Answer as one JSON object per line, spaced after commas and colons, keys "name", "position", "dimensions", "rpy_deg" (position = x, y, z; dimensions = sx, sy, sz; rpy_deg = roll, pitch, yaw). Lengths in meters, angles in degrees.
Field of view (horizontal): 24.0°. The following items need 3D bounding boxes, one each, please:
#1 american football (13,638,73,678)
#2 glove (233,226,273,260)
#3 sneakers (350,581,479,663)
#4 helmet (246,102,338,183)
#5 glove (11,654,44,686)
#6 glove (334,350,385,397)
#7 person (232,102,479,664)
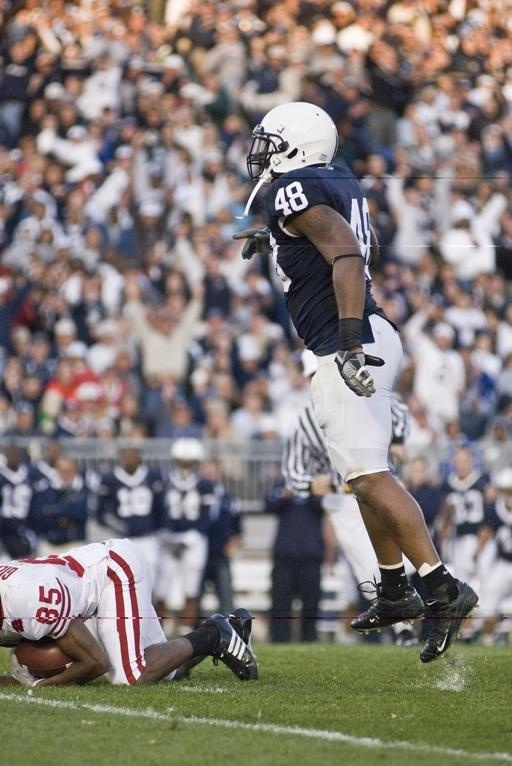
{"name": "american football", "position": [-0.639, 0.813, 3.540], "dimensions": [0.120, 0.071, 0.156], "rpy_deg": [16, -26, -35]}
{"name": "glove", "position": [-0.016, -0.466, 4.036], "dimensions": [0.121, 0.110, 0.044], "rpy_deg": [2, 36, -12]}
{"name": "sneakers", "position": [0.451, 0.651, 3.504], "dimensions": [0.146, 0.259, 0.457], "rpy_deg": [2, 2, -26]}
{"name": "helmet", "position": [0.113, -0.721, 3.593], "dimensions": [0.289, 0.209, 0.221], "rpy_deg": [5, 13, 20]}
{"name": "glove", "position": [-0.688, 0.856, 3.611], "dimensions": [0.087, 0.076, 0.102], "rpy_deg": [1, 0, -2]}
{"name": "glove", "position": [0.267, -0.032, 3.231], "dimensions": [0.062, 0.135, 0.108], "rpy_deg": [-41, 12, 9]}
{"name": "person", "position": [0.259, -0.038, 3.527], "dimensions": [0.572, 1.617, 0.724], "rpy_deg": [2, 3, -21]}
